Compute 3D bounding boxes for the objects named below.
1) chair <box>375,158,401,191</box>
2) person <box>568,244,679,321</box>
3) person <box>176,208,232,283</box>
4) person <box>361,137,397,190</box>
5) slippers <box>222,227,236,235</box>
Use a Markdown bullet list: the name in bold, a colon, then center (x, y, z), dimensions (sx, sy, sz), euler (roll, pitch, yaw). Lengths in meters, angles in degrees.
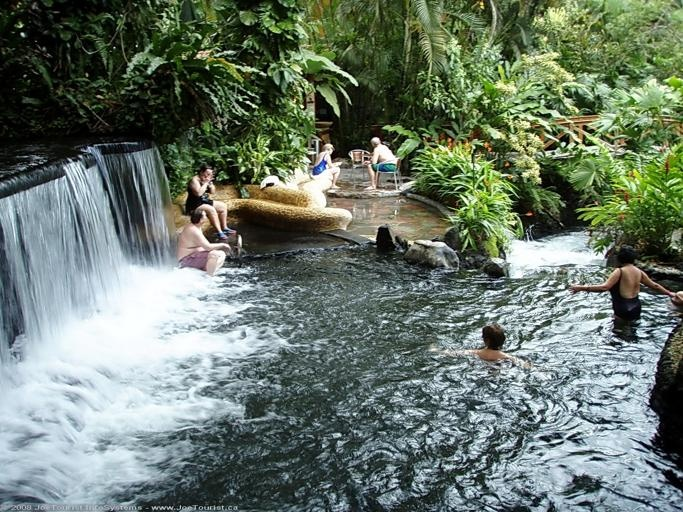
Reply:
- **chair**: center (1.142, -1.974, 12.895), dimensions (0.855, 0.753, 0.754), euler (4, 18, 6)
- **person**: center (3.854, 0.375, 7.155), dimensions (1.425, 0.916, 0.351), euler (-5, 26, 3)
- **person**: center (-2.115, -0.146, 8.111), dimensions (0.779, 0.775, 0.458), euler (12, 17, 41)
- **person**: center (0.972, -2.236, 12.831), dimensions (0.761, 1.254, 1.065), euler (2, 13, 1)
- **slippers**: center (-1.997, -0.445, 9.433), dimensions (0.226, 0.057, 0.099), euler (0, 10, 4)
